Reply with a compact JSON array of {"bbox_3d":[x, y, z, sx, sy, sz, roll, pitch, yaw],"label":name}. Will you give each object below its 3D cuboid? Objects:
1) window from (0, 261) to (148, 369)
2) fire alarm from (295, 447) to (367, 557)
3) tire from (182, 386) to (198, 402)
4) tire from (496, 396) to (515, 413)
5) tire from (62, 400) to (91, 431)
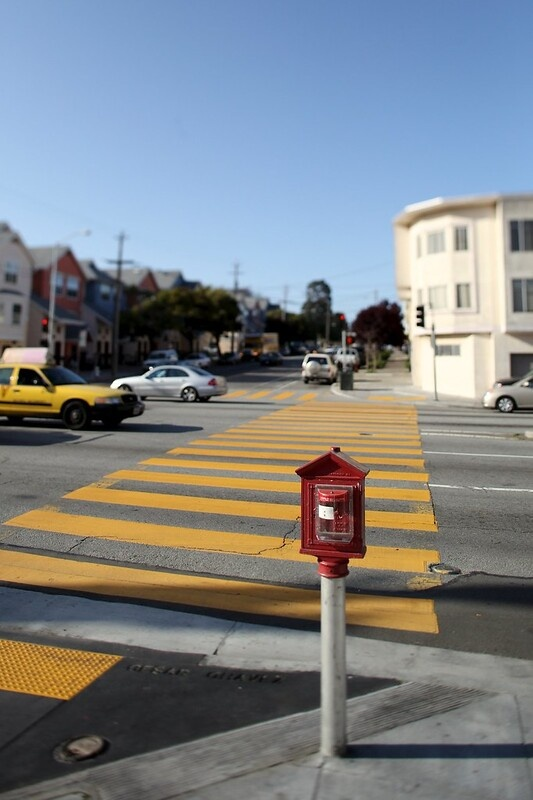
[{"bbox_3d":[-14.665,-6.508,50.043,7.344,8.297,12.557,1,5,11],"label":"window"},{"bbox_3d":[0.301,0.479,2.998,0.315,0.501,0.333,0,3,5],"label":"fire alarm"},{"bbox_3d":[-2.999,-0.273,26.287,0.593,0.580,0.225,3,4,6],"label":"tire"},{"bbox_3d":[8.462,0.108,23.303,0.573,0.568,0.196,2,-2,40],"label":"tire"},{"bbox_3d":[-4.506,0.371,15.991,0.828,0.696,0.247,1,3,27],"label":"tire"}]
